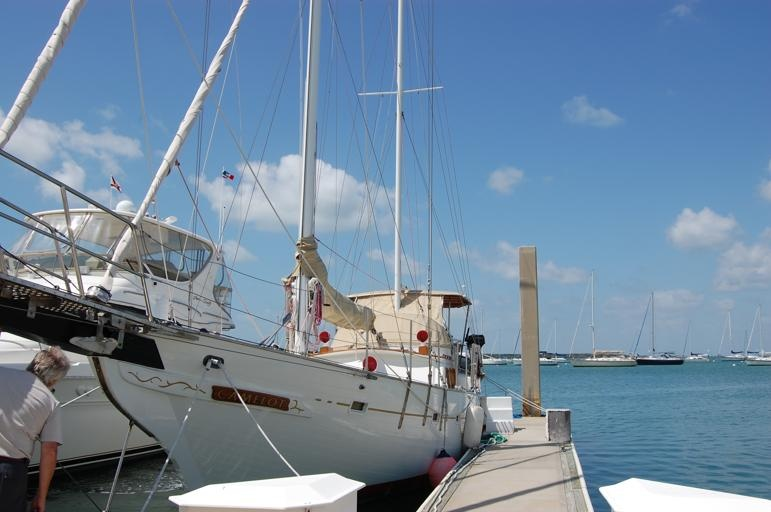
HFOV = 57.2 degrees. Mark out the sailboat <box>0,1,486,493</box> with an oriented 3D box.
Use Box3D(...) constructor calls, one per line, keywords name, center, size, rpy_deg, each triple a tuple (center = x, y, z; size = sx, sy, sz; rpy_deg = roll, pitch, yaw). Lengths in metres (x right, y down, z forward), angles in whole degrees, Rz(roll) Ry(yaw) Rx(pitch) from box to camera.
Box3D(name="sailboat", center=(-1.358, -0.500, 12.759), size=(3.064, 9.008, 10.095), rpy_deg=(-1, -11, 32))
